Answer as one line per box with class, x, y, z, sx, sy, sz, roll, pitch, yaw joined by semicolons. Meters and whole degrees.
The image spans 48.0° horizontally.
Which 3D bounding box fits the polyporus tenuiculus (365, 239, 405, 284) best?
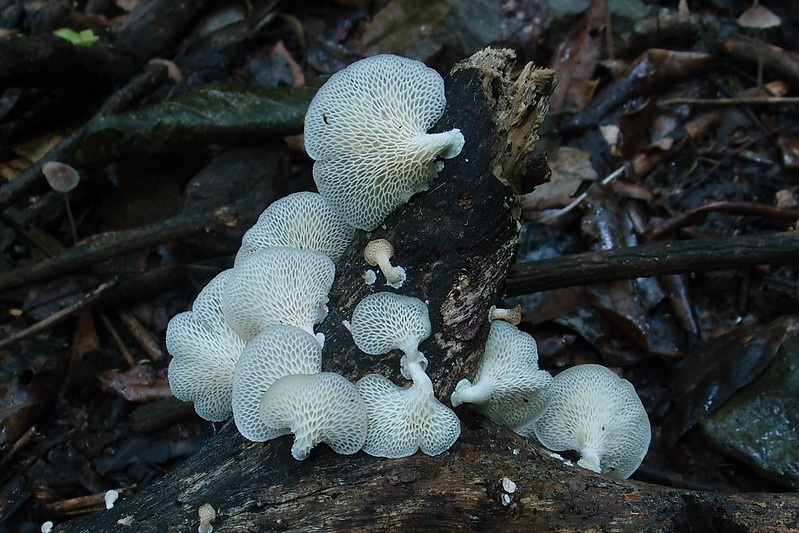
polyporus tenuiculus;-0.140;-0.027;10.377;0.340;0.288;0.552;-31;59;-14
